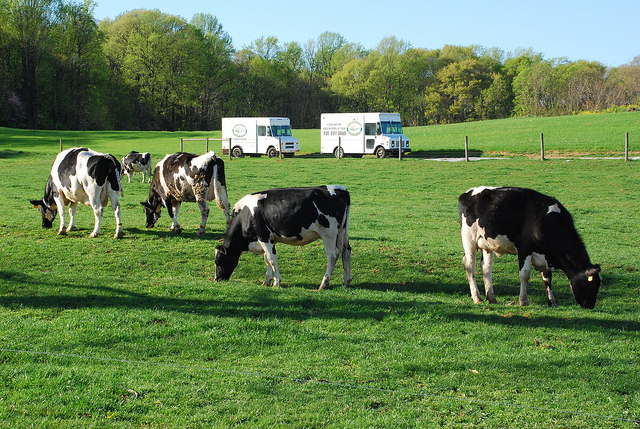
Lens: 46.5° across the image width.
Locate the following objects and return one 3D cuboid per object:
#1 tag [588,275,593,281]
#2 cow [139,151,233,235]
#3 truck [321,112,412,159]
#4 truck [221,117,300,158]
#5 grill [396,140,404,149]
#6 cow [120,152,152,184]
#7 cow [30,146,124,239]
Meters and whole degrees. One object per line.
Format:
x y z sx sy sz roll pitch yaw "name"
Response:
7.823 1.874 21.597 0.106 0.142 0.058 2 5 18 "tag"
-5.415 -0.842 29.824 4.910 3.418 1.383 -5 0 37 "cow"
3.761 -6.267 60.018 6.311 3.386 3.698 3 5 36 "truck"
-4.899 -6.384 61.477 6.377 3.256 2.424 5 7 38 "truck"
6.271 -5.397 57.705 0.446 0.586 1.271 3 6 28 "grill"
-11.058 -2.783 44.572 3.063 1.843 0.848 0 3 40 "cow"
-9.729 -0.835 29.683 5.426 3.720 1.476 -2 2 39 "cow"
